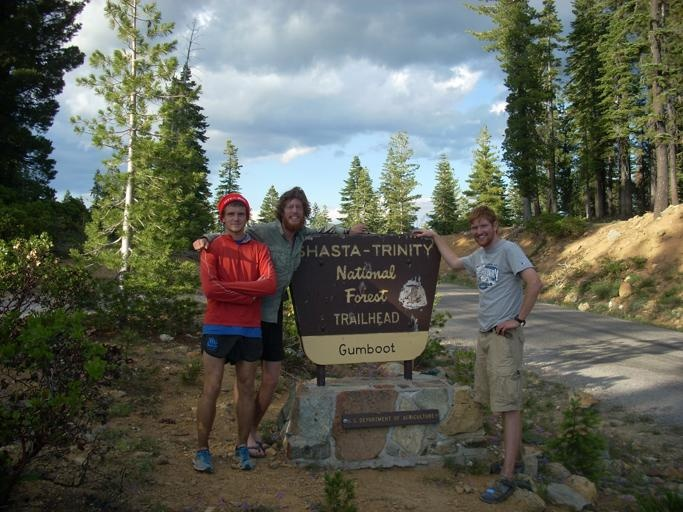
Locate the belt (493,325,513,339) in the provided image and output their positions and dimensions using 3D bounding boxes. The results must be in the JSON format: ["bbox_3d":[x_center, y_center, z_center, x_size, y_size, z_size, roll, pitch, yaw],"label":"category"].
[{"bbox_3d":[2.234,0.987,8.263,0.290,0.213,0.110,0,-1,8],"label":"belt"}]

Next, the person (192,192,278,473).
[{"bbox_3d":[-1.483,1.035,8.275,1.020,3.826,0.410,1,-1,-13],"label":"person"}]

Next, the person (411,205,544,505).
[{"bbox_3d":[2.142,1.252,8.493,0.720,3.954,1.303,1,-1,-22],"label":"person"}]

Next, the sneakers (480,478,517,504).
[{"bbox_3d":[2.056,3.088,7.967,0.516,0.189,0.210,-7,1,-27],"label":"sneakers"}]

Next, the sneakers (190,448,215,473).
[{"bbox_3d":[-1.866,2.761,8.176,0.283,0.324,0.233,1,-1,-20],"label":"sneakers"}]

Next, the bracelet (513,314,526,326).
[{"bbox_3d":[2.404,0.859,8.216,0.136,0.087,0.127,39,27,20],"label":"bracelet"}]
